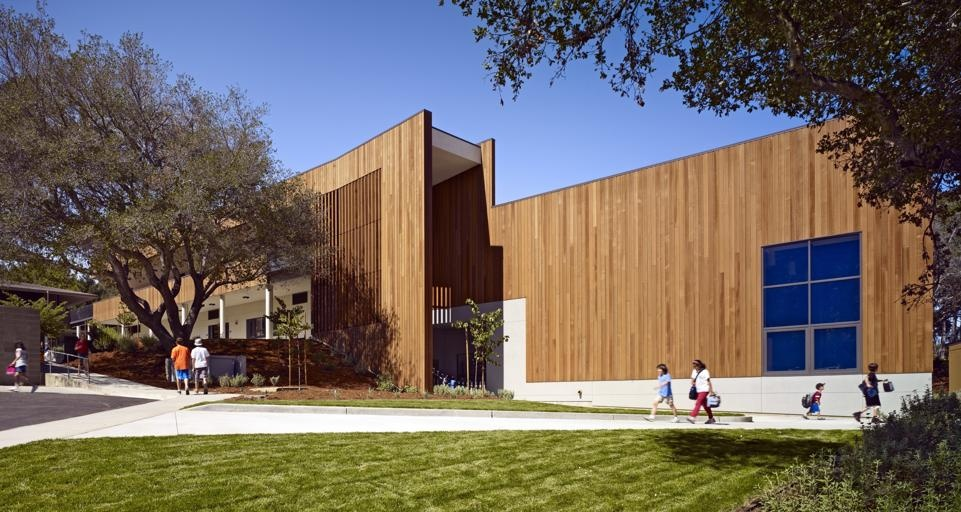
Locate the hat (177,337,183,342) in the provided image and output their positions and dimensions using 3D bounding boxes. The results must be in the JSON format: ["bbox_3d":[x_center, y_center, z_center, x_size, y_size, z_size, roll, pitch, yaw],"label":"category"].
[{"bbox_3d":[-13.029,3.637,29.925,0.304,0.150,0.417,1,-1,-7],"label":"hat"}]

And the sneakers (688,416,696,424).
[{"bbox_3d":[7.516,5.813,24.472,0.252,0.293,0.611,-5,-17,13],"label":"sneakers"}]

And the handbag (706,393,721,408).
[{"bbox_3d":[8.418,5.225,24.841,0.447,0.229,0.638,0,-6,27],"label":"handbag"}]

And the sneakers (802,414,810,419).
[{"bbox_3d":[12.504,6.166,26.360,0.186,0.146,0.317,0,-2,13],"label":"sneakers"}]

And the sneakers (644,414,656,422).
[{"bbox_3d":[6.193,5.872,24.925,0.544,0.255,0.182,4,-9,10],"label":"sneakers"}]

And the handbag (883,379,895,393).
[{"bbox_3d":[15.248,4.867,25.700,0.443,0.589,0.320,-4,-8,20],"label":"handbag"}]

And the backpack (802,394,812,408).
[{"bbox_3d":[12.679,5.664,26.737,0.171,0.468,0.330,9,-9,-40],"label":"backpack"}]

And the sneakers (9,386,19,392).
[{"bbox_3d":[-19.441,5.562,28.748,0.607,0.262,0.207,-3,-7,30],"label":"sneakers"}]

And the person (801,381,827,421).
[{"bbox_3d":[12.915,5.578,26.747,1.070,1.332,0.524,2,-16,-13],"label":"person"}]

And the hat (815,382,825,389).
[{"bbox_3d":[13.234,5.057,26.780,0.197,0.232,0.248,3,-19,-33],"label":"hat"}]
